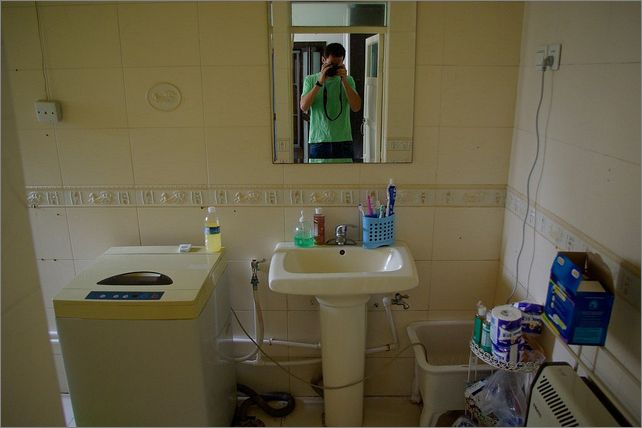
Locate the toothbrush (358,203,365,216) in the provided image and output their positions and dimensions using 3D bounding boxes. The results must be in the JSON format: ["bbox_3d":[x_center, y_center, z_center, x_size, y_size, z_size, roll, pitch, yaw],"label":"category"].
[{"bbox_3d":[0.228,-0.015,2.708,0.022,0.089,0.026,-24,25,-8],"label":"toothbrush"}]

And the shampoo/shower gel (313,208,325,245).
[{"bbox_3d":[-0.011,0.063,2.740,0.062,0.206,0.083,-2,13,3],"label":"shampoo/shower gel"}]

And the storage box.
[{"bbox_3d":[1.028,0.337,1.952,0.158,0.305,0.216,-2,19,-5],"label":"storage box"}]

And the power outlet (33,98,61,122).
[{"bbox_3d":[-1.463,-0.561,2.612,0.109,0.109,0.040,-2,20,-1],"label":"power outlet"}]

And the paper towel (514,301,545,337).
[{"bbox_3d":[0.982,0.496,2.348,0.171,0.135,0.178,10,3,44],"label":"paper towel"}]

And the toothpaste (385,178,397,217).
[{"bbox_3d":[0.382,-0.094,2.687,0.053,0.199,0.105,-1,13,8],"label":"toothpaste"}]

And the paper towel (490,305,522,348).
[{"bbox_3d":[0.844,0.511,2.231,0.130,0.152,0.134,12,30,36],"label":"paper towel"}]

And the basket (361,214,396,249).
[{"bbox_3d":[0.331,0.088,2.714,0.183,0.170,0.107,-5,12,-1],"label":"basket"}]

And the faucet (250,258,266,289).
[{"bbox_3d":[-0.363,0.331,2.800,0.071,0.193,0.101,-8,25,-15],"label":"faucet"}]

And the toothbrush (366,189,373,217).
[{"bbox_3d":[0.268,-0.054,2.676,0.030,0.126,0.074,-2,13,4],"label":"toothbrush"}]

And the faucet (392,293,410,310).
[{"bbox_3d":[0.449,0.508,2.770,0.106,0.110,0.038,-8,1,-25],"label":"faucet"}]

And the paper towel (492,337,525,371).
[{"bbox_3d":[0.843,0.629,2.195,0.125,0.105,0.130,-1,6,7],"label":"paper towel"}]

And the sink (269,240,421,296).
[{"bbox_3d":[0.111,0.280,2.593,0.738,0.175,0.434,-3,13,0],"label":"sink"}]

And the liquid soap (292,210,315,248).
[{"bbox_3d":[-0.100,0.083,2.782,0.115,0.206,0.117,2,14,17],"label":"liquid soap"}]
